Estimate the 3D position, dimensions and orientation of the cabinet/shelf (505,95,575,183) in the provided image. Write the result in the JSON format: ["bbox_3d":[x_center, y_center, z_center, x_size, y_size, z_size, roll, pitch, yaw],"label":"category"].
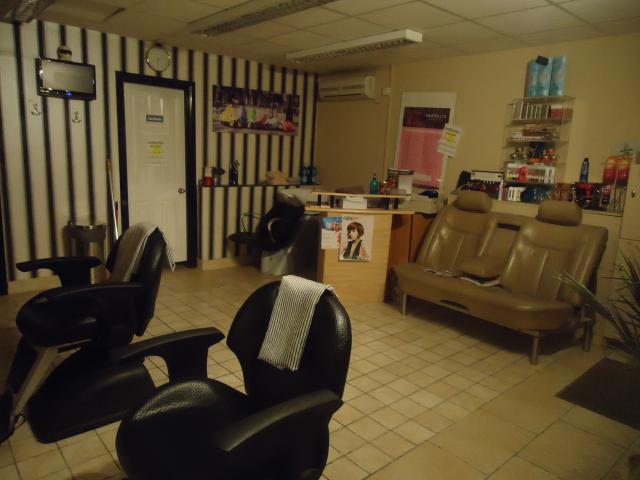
[{"bbox_3d":[2.306,-0.932,5.049,0.491,0.914,0.270,15,25,27],"label":"cabinet/shelf"}]

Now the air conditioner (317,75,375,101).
[{"bbox_3d":[0.389,-2.227,6.789,0.237,0.353,1.039,-7,17,-36],"label":"air conditioner"}]

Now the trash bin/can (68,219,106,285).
[{"bbox_3d":[-2.676,0.163,5.371,0.448,0.678,0.434,-1,12,-22],"label":"trash bin/can"}]

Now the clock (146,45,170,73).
[{"bbox_3d":[-2.006,-2.228,5.703,0.337,0.350,0.046,-9,14,-40],"label":"clock"}]

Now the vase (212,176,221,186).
[{"bbox_3d":[-1.402,-0.795,6.321,0.134,0.131,0.097,2,15,-1],"label":"vase"}]

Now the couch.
[{"bbox_3d":[1.786,0.272,4.655,1.030,1.394,1.706,-10,19,-43],"label":"couch"}]

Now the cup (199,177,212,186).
[{"bbox_3d":[-1.525,-0.770,6.223,0.130,0.117,0.129,0,0,0],"label":"cup"}]

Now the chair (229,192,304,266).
[{"bbox_3d":[-0.886,-0.114,6.212,0.858,1.040,1.002,3,9,14],"label":"chair"}]

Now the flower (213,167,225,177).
[{"bbox_3d":[-1.376,-0.931,6.358,0.128,0.132,0.221,4,14,4],"label":"flower"}]

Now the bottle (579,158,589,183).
[{"bbox_3d":[2.739,-0.717,4.770,0.092,0.251,0.115,10,16,27],"label":"bottle"}]

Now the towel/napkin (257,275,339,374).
[{"bbox_3d":[-0.101,0.428,2.498,0.339,0.510,0.172,13,-1,35],"label":"towel/napkin"}]

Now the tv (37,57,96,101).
[{"bbox_3d":[-2.806,-1.763,5.079,0.538,0.393,0.071,-6,23,-37],"label":"tv"}]

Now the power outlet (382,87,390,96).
[{"bbox_3d":[0.908,-2.024,6.324,0.069,0.129,0.132,2,0,-39],"label":"power outlet"}]
